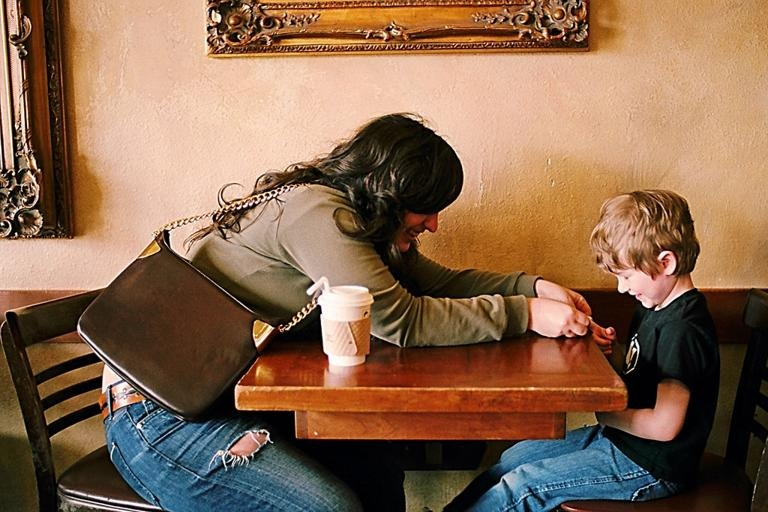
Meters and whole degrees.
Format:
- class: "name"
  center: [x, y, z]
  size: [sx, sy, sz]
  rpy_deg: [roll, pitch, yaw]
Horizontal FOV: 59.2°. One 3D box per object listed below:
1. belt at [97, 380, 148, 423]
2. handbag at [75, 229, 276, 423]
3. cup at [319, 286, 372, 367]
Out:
- class: "belt"
  center: [-0.764, 0.426, 1.984]
  size: [0.124, 0.051, 0.131]
  rpy_deg: [-24, -8, -8]
- class: "handbag"
  center: [-0.577, 0.165, 1.982]
  size: [0.501, 0.481, 0.115]
  rpy_deg: [31, -20, 9]
- class: "cup"
  center: [-0.105, 0.190, 1.883]
  size: [0.153, 0.201, 0.160]
  rpy_deg: [1, 9, 0]
